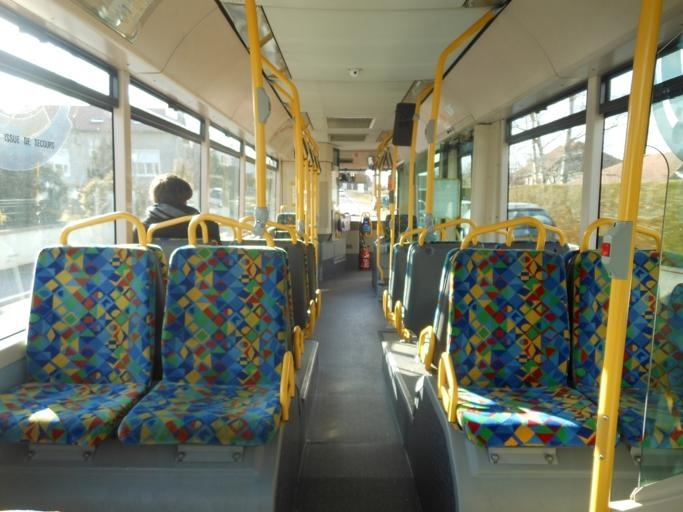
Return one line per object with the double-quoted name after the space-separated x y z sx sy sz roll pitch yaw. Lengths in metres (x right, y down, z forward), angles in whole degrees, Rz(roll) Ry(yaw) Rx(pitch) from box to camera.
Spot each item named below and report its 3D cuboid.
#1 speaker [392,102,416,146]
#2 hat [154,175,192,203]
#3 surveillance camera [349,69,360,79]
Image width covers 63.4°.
0.750 -1.587 6.676 0.228 0.526 0.505 7 13 4 "speaker"
-1.525 -0.589 4.985 0.219 0.236 0.278 -5 19 -4 "hat"
0.140 -1.910 5.775 0.119 0.067 0.263 7 13 -2 "surveillance camera"
